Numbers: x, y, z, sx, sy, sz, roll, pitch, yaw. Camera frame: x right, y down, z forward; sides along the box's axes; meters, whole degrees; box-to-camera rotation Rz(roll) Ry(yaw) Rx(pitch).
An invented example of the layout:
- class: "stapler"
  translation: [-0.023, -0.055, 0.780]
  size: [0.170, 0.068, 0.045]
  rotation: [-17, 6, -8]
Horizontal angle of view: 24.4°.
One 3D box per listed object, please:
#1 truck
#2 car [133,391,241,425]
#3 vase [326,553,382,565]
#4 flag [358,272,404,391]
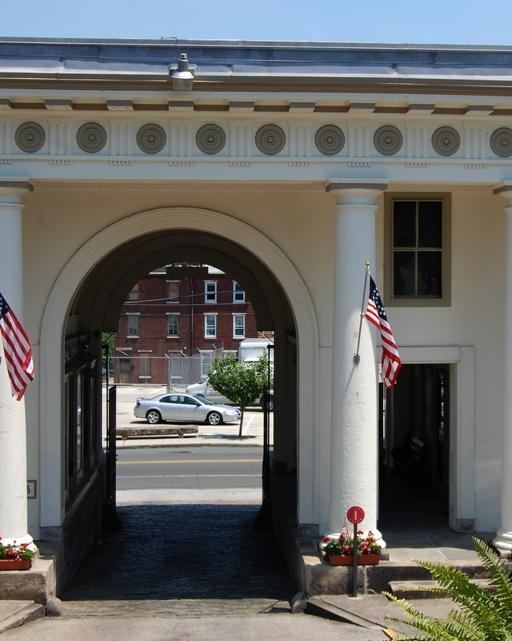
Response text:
- class: "truck"
  translation: [-1.614, 2.064, 51.228]
  size: [5.397, 2.764, 1.999]
  rotation: [1, -3, -2]
- class: "car"
  translation: [-2.658, 3.328, 43.914]
  size: [3.524, 1.052, 1.496]
  rotation: [0, -2, 2]
- class: "vase"
  translation: [1.337, 3.342, 16.614]
  size: [0.716, 0.182, 0.179]
  rotation: [-1, -4, -1]
- class: "flag"
  translation: [1.659, 0.073, 16.552]
  size: [0.553, 1.677, 0.819]
  rotation: [-1, -4, -3]
